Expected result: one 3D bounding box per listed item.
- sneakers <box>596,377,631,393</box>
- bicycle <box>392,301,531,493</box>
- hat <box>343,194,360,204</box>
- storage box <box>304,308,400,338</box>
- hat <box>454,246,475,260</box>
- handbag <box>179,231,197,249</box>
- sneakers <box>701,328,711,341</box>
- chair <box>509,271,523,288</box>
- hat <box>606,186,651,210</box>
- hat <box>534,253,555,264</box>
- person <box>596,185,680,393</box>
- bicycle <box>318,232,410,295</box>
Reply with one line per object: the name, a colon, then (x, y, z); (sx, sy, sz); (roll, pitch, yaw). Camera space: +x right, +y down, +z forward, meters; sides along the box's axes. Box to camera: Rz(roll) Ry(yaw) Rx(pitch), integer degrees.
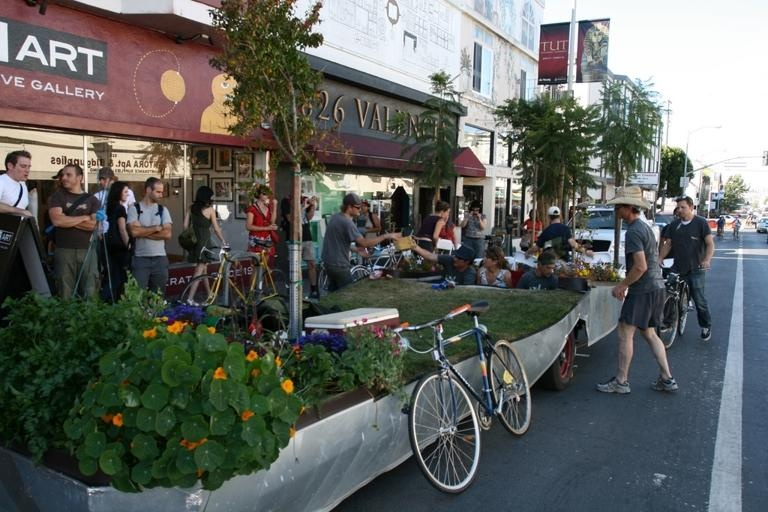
sneakers: (2.966, 1.660, 7.465); (0.437, 0.227, 0.191); (4, 0, 15)
bicycle: (0.870, 1.348, 5.608); (0.864, 1.398, 2.078); (-13, 0, 35)
hat: (-0.516, -0.929, 9.228); (0.250, 0.178, 0.402); (0, 10, -6)
storage box: (-0.246, 0.610, 5.362); (0.892, 0.207, 0.520); (-7, 13, -41)
hat: (1.327, -0.061, 9.399); (0.296, 0.196, 0.368); (3, 10, 7)
handbag: (-3.515, -0.299, 10.335); (0.233, 0.296, 0.154); (4, 14, 16)
sneakers: (5.617, 1.336, 9.971); (0.141, 0.211, 0.299); (7, 11, 32)
chair: (2.217, 0.382, 9.592); (0.271, 0.297, 0.152); (0, -2, -23)
hat: (3.297, -0.779, 7.612); (0.456, 0.212, 0.426); (0, 6, 21)
hat: (2.387, 0.027, 8.452); (0.156, 0.199, 0.188); (-10, 18, -38)
person: (3.405, 0.437, 7.491); (0.974, 2.635, 1.111); (6, 10, 29)
bicycle: (0.010, 0.086, 9.386); (1.643, 1.067, 0.807); (-6, 1, -36)
